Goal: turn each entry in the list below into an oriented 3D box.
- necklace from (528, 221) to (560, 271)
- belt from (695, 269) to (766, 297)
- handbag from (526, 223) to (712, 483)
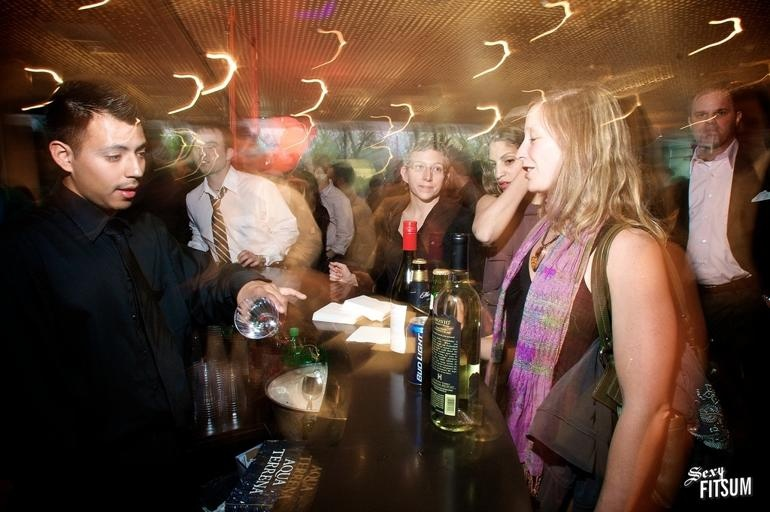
[{"bbox_3d":[0.826,-0.047,2.608,0.039,0.216,0.132,13,35,-5],"label":"necklace"},{"bbox_3d":[2.824,0.244,4.091,0.441,0.172,0.332,-5,-12,21],"label":"belt"},{"bbox_3d":[1.034,0.402,2.228,0.852,1.086,0.296,-5,11,-6],"label":"handbag"}]
